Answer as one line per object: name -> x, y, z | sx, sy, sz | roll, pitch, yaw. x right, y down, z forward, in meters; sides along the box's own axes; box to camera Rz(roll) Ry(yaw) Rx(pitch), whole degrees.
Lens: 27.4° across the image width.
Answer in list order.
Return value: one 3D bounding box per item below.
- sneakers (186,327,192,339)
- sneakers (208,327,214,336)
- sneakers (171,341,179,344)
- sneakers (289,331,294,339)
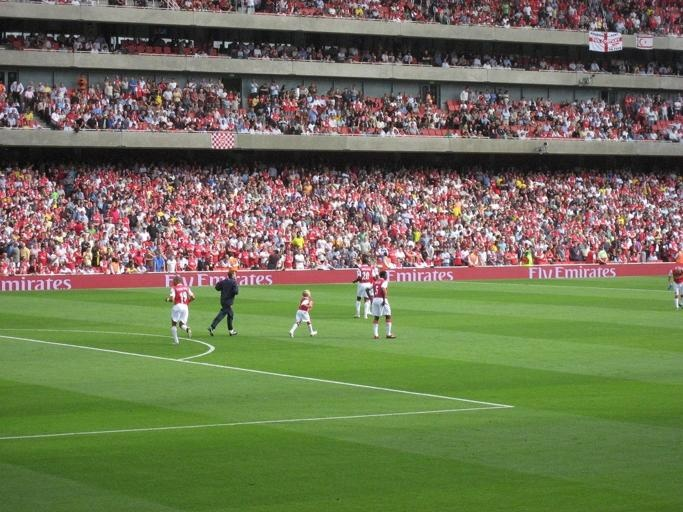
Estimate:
sneakers -> -5.446, 2.763, 50.495 | 0.171, 0.518, 0.216 | -26, 50, -30
sneakers -> -4.732, 2.770, 51.084 | 0.143, 0.407, 0.200 | 6, 43, 22
sneakers -> -5.874, 3.040, 49.756 | 0.240, 0.079, 0.171 | -1, 21, 10
sneakers -> -1.781, 2.841, 50.923 | 0.194, 0.184, 0.319 | 5, 0, -1
